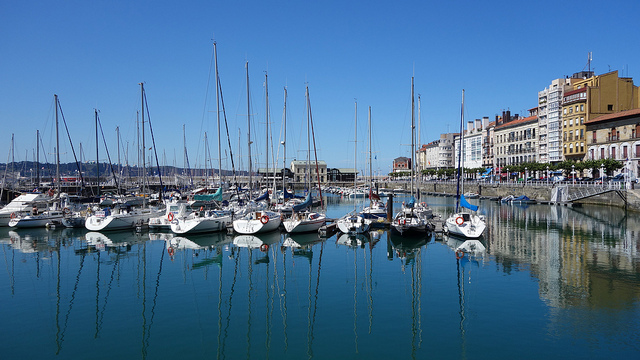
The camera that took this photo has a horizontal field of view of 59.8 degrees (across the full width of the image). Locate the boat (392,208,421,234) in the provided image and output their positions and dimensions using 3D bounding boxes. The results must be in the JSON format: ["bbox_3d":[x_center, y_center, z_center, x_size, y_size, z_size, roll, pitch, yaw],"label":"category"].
[{"bbox_3d":[10.254,4.893,68.837,3.095,2.005,6.276,3,14,11],"label":"boat"}]

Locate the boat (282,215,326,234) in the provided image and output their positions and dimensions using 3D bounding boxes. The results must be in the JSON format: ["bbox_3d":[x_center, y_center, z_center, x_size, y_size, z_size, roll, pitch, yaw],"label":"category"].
[{"bbox_3d":[-1.898,5.607,69.001,5.230,1.589,2.028,-4,5,-39],"label":"boat"}]
